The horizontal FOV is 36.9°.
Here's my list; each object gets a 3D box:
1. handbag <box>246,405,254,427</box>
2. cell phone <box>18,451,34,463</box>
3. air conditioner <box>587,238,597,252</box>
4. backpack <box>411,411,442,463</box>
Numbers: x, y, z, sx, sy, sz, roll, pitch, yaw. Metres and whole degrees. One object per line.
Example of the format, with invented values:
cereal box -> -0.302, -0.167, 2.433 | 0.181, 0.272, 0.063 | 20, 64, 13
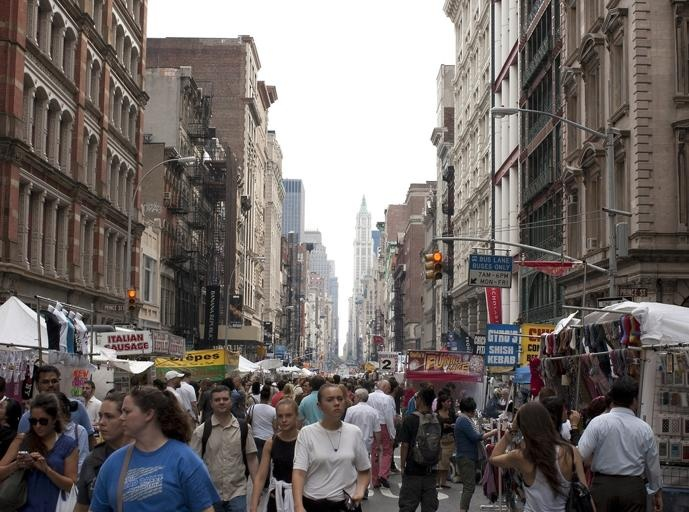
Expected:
handbag -> -1.970, 3.324, 21.571 | 0.123, 0.438, 0.320 | 1, -13, -6
cell phone -> -4.444, 2.808, 14.400 | 0.189, 0.178, 0.111 | 3, -13, -13
air conditioner -> 9.162, -0.407, 38.519 | 0.309, 0.626, 0.608 | 1, 1, -12
backpack -> 1.463, 3.274, 18.499 | 0.494, 0.950, 0.392 | -1, -12, 4
